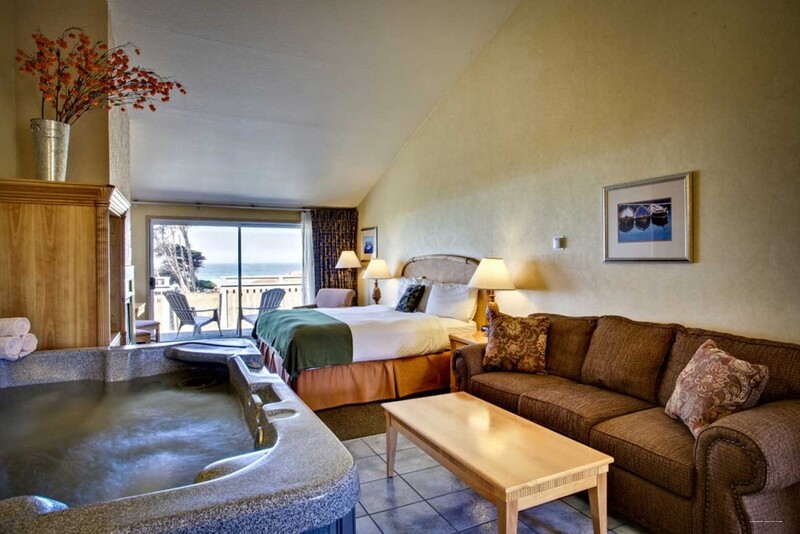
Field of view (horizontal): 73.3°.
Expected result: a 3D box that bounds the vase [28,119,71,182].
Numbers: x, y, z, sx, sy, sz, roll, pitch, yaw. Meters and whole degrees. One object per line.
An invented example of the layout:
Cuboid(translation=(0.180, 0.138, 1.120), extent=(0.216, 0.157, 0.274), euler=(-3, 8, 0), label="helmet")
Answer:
Cuboid(translation=(-2.469, -0.817, 3.804), extent=(0.269, 0.388, 0.257), euler=(-1, 2, -28), label="vase")

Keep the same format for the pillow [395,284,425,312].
Cuboid(translation=(0.133, 0.370, 6.498), extent=(0.105, 0.324, 0.346), euler=(32, -17, -16), label="pillow")

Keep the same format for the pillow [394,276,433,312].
Cuboid(translation=(0.175, 0.330, 6.544), extent=(0.160, 0.388, 0.534), euler=(26, -9, -24), label="pillow")

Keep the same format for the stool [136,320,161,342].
Cuboid(translation=(-2.973, 0.748, 6.328), extent=(0.344, 0.291, 0.337), euler=(0, -1, -28), label="stool")

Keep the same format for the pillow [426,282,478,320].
Cuboid(translation=(0.575, 0.376, 5.902), extent=(0.451, 0.407, 0.125), euler=(3, -16, 45), label="pillow")

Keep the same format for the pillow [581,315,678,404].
Cuboid(translation=(1.747, 0.713, 4.041), extent=(0.260, 0.439, 0.488), euler=(4, 20, -30), label="pillow")

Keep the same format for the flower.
Cuboid(translation=(-1.983, -1.443, 4.124), extent=(0.813, 0.438, 0.814), euler=(-34, 33, -30), label="flower")

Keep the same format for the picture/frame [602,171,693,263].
Cuboid(translation=(2.003, -0.401, 4.287), extent=(0.061, 0.738, 0.795), euler=(2, -3, -38), label="picture/frame")

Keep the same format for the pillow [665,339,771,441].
Cuboid(translation=(1.999, 0.813, 3.437), extent=(0.179, 0.542, 0.571), euler=(24, 11, -23), label="pillow")

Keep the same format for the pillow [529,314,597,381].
Cuboid(translation=(1.364, 0.692, 4.479), extent=(0.196, 0.386, 0.489), euler=(3, 1, -33), label="pillow")

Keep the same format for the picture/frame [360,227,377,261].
Cuboid(translation=(-0.492, -0.372, 8.573), extent=(0.024, 0.608, 0.616), euler=(-1, -1, -22), label="picture/frame")

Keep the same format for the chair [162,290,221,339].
Cuboid(translation=(-2.868, 0.621, 7.654), extent=(0.882, 0.725, 0.636), euler=(-4, 2, -20), label="chair")

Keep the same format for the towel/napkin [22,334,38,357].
Cuboid(translation=(-2.320, 0.481, 3.374), extent=(0.050, 0.121, 0.114), euler=(-2, -9, 16), label="towel/napkin")

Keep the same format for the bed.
Cuboid(translation=(-0.354, 0.877, 5.855), extent=(1.890, 1.137, 1.886), euler=(2, -5, -21), label="bed")

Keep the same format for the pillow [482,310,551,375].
Cuboid(translation=(1.057, 0.674, 4.751), extent=(0.499, 0.476, 0.157), euler=(0, -20, 20), label="pillow")
